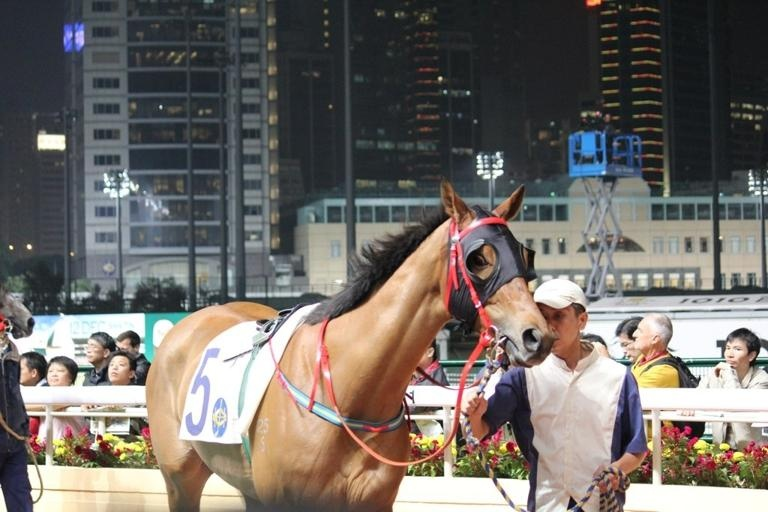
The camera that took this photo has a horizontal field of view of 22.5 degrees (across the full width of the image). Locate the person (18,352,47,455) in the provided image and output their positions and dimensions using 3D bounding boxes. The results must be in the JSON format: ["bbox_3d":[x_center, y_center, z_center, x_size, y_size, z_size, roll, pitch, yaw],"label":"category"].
[{"bbox_3d":[-8.588,3.534,47.335,0.797,2.187,0.688,-3,5,-35],"label":"person"}]

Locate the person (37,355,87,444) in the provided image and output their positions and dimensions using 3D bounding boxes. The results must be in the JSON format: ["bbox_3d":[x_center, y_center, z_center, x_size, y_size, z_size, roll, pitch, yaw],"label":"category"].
[{"bbox_3d":[-7.783,3.562,46.806,1.187,2.068,1.006,0,-3,-10],"label":"person"}]
